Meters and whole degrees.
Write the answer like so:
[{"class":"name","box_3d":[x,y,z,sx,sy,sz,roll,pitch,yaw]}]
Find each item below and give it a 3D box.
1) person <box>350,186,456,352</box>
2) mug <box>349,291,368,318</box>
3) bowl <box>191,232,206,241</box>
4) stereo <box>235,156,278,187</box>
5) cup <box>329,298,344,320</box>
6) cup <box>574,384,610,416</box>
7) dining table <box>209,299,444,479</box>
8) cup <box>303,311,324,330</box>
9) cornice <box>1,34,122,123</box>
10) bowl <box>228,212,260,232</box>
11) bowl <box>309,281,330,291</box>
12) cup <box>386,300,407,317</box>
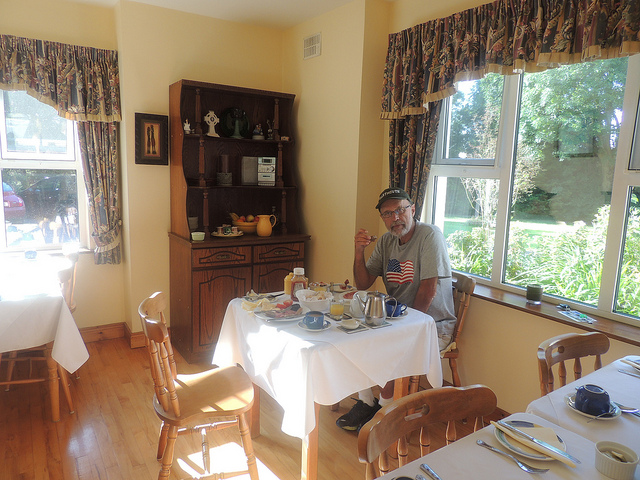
[{"class":"person","box_3d":[0.586,0.221,3.432,0.632,1.159,0.673,-1,-10,-41]},{"class":"mug","box_3d":[0.223,0.413,3.003,0.133,0.146,0.096,6,4,42]},{"class":"bowl","box_3d":[-1.074,-0.027,4.183,0.108,0.066,0.154,-4,11,-19]},{"class":"stereo","box_3d":[-0.626,-0.659,4.695,0.359,0.271,0.212,-3,3,-29]},{"class":"cup","box_3d":[0.087,0.439,3.002,0.100,0.125,0.104,1,1,0]},{"class":"cup","box_3d":[1.208,0.713,2.153,0.102,0.088,0.144,2,5,-19]},{"class":"dining table","box_3d":[-0.045,0.502,3.050,1.109,0.870,1.145,-6,12,-32]},{"class":"cup","box_3d":[-0.040,0.468,2.782,0.120,0.081,0.129,0,11,0]},{"class":"cornice","box_3d":[-2.248,-1.387,4.188,0.902,0.684,0.124,-4,11,-22]},{"class":"bowl","box_3d":[-0.742,-0.161,4.620,0.333,0.171,0.208,1,11,7]},{"class":"bowl","box_3d":[-0.011,0.313,3.140,0.116,0.037,0.109,0,11,0]},{"class":"cup","box_3d":[0.471,0.428,2.991,0.115,0.088,0.074,13,9,35]}]
